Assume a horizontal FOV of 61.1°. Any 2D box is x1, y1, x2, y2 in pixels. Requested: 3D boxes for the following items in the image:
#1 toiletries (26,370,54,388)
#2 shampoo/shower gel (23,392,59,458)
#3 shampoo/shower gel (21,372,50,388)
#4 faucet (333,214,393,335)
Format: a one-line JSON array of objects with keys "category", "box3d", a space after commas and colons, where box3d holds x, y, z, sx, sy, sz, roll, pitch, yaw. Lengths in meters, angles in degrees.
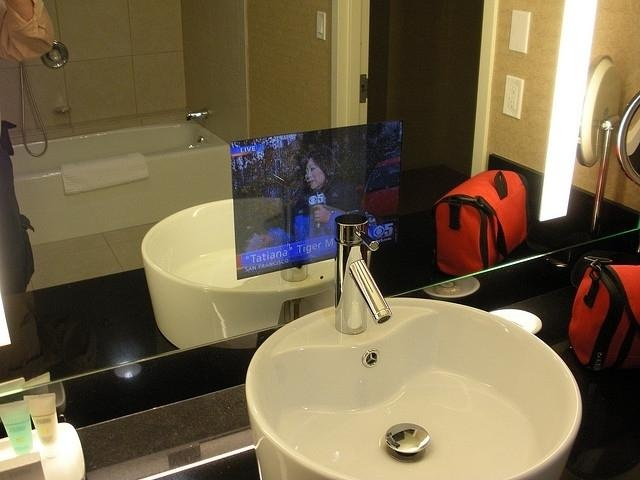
[{"category": "toiletries", "box3d": [-0.645, 0.324, 1.245, 0.038, 0.017, 0.030, -15, 34, -27]}, {"category": "shampoo/shower gel", "box3d": [-0.577, 0.378, 1.140, 0.052, 0.123, 0.033, -6, 22, -17]}, {"category": "shampoo/shower gel", "box3d": [-0.646, 0.323, 1.244, 0.040, 0.022, 0.030, -12, 32, -27]}, {"category": "faucet", "box3d": [0.129, 0.104, 1.193, 0.128, 0.268, 0.168, -8, 30, -22]}]
